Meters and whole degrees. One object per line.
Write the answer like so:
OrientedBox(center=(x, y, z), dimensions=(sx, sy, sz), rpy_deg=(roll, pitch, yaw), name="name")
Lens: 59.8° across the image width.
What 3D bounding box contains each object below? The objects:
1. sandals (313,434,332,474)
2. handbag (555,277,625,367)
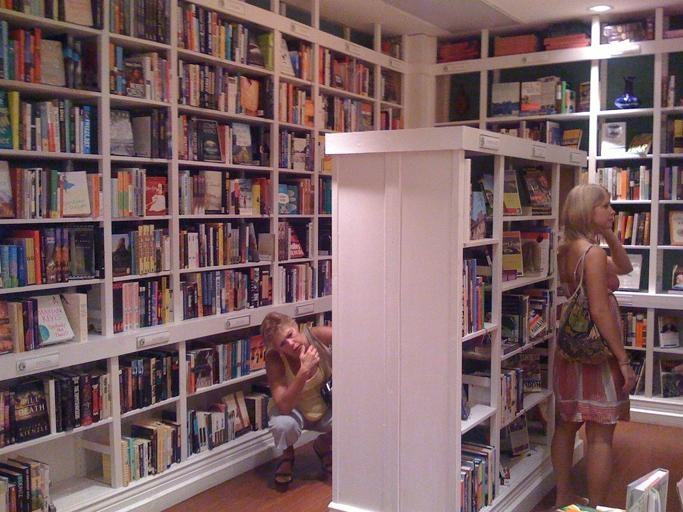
OrientedBox(center=(-0.126, 1.423, 4.357), dimensions=(0.091, 0.118, 0.281), rpy_deg=(-1, 3, -27), name="sandals")
OrientedBox(center=(1.410, 0.386, 3.470), dimensions=(0.302, 0.494, 0.122), rpy_deg=(-1, 7, 24), name="handbag")
